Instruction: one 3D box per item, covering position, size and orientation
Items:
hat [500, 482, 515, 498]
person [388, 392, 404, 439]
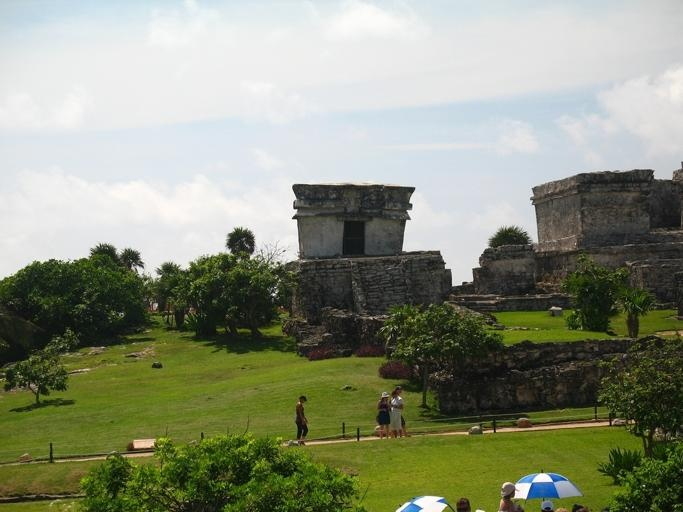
[{"bbox_3d":[7.388,10.188,74.720,0.659,0.582,0.496,-29,34,-36],"label":"hat"},{"bbox_3d":[2.741,7.666,83.067,0.633,2.398,0.981,-2,-5,3],"label":"person"}]
